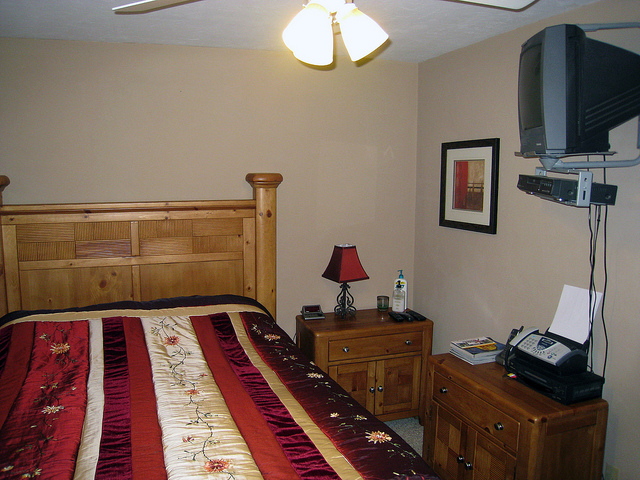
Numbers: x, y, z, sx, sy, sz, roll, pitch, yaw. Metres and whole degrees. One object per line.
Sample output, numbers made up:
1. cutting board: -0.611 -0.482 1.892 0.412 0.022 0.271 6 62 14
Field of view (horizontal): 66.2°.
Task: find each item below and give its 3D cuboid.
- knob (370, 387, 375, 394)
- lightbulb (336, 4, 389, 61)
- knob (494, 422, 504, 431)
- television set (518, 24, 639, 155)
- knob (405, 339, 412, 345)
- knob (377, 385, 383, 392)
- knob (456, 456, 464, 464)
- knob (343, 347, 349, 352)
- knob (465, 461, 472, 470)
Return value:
1. knob: 0.383 1.096 3.589 0.053 0.046 0.027 0 -4 -3
2. lightbulb: 0.155 -0.888 2.086 0.183 0.187 0.208 -7 8 -43
3. knob: 0.948 0.982 2.596 0.036 0.045 0.047 -12 -3 -32
4. television set: 1.159 -0.729 2.516 0.639 0.604 0.520 -6 10 -6
5. knob: 0.655 0.758 3.644 0.032 0.031 0.031 3 7 15
6. knob: 0.444 1.089 3.604 0.033 0.059 0.034 -7 10 -43
7. knob: 0.809 1.260 2.825 0.048 0.039 0.037 0 -1 -2
8. knob: 0.188 0.779 3.507 0.030 0.029 0.030 0 10 -1
9. knob: 0.843 1.278 2.784 0.025 0.040 0.037 -4 6 -21
